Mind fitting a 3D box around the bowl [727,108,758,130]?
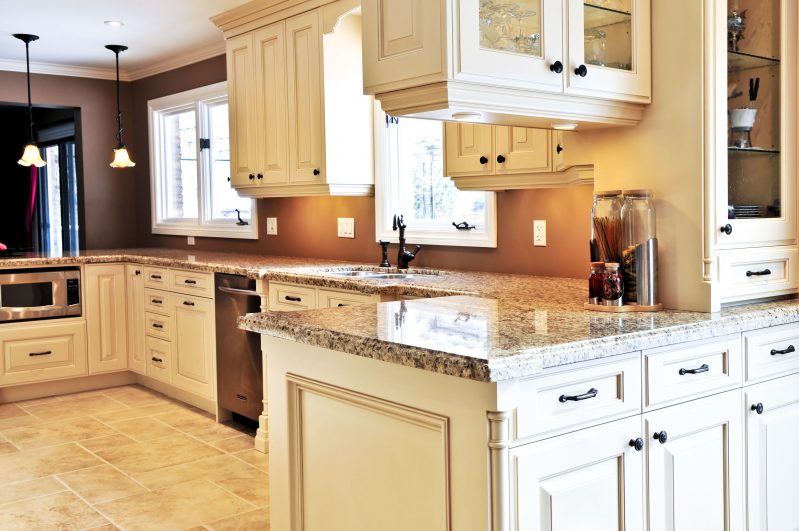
[{"bbox_3d":[1.401,-0.600,2.770,0.118,0.069,0.123,-1,-1,0],"label":"bowl"}]
